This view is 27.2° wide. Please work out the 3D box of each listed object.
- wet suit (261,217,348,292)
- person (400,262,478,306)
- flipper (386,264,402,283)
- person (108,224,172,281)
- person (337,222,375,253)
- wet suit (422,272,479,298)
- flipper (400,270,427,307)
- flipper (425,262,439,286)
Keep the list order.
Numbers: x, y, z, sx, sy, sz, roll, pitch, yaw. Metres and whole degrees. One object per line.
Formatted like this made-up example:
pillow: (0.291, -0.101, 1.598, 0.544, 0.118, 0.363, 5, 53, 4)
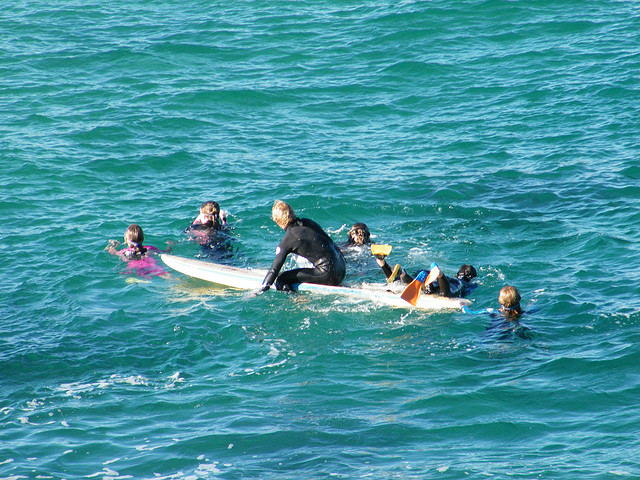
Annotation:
wet suit: (-0.343, 0.387, 29.556, 1.161, 1.078, 1.487, 16, 38, 32)
person: (2.738, 0.987, 29.034, 0.955, 0.714, 2.134, 21, 11, 39)
flipper: (1.646, 0.724, 28.451, 0.116, 0.383, 0.391, 42, 27, 1)
person: (-4.104, 0.220, 30.440, 1.242, 0.594, 1.540, -15, 36, -25)
person: (0.895, 0.012, 30.536, 1.279, 0.435, 0.379, -3, 76, 1)
wet suit: (2.922, 0.982, 28.993, 0.643, 0.259, 0.916, 2, -5, 45)
flipper: (2.050, 1.064, 28.480, 0.461, 0.881, 0.162, 38, 38, 5)
flipper: (2.451, 0.785, 28.407, 0.245, 0.729, 0.391, 18, 55, 11)
